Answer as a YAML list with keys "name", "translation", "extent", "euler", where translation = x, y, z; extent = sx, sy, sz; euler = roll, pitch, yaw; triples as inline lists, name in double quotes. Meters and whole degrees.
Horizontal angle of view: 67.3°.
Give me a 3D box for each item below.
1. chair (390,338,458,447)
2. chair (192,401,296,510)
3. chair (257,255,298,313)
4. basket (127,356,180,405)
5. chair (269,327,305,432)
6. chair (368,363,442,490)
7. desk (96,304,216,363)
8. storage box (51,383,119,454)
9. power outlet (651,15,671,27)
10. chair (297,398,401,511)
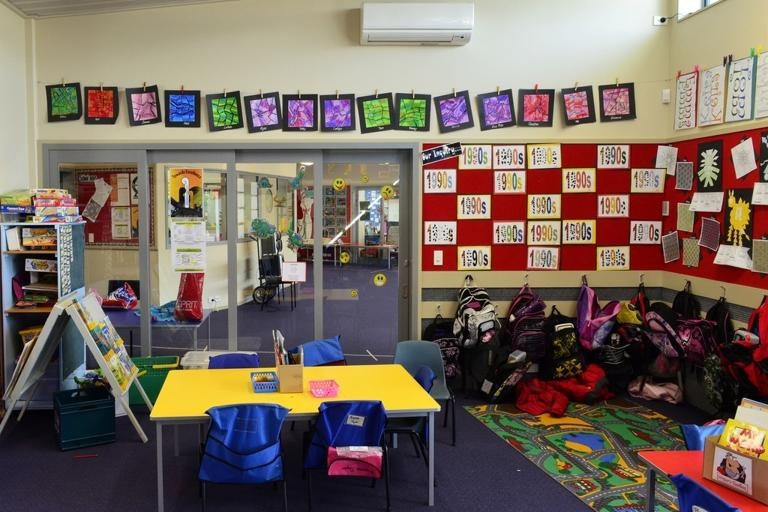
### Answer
- name: "chair"
  translation: [0.381, 1.381, 5.699]
  extent: [0.653, 0.922, 0.693]
  euler: [-3, 0, -22]
- name: "chair"
  translation: [-1.071, 1.538, 4.534]
  extent: [0.627, 0.910, 0.676]
  euler: [2, -6, -4]
- name: "chair"
  translation: [-1.318, 0.324, 7.144]
  extent: [0.404, 0.638, 0.364]
  euler: [-3, 2, 3]
- name: "basket"
  translation: [-2.577, 1.323, 6.591]
  extent: [0.522, 0.458, 0.730]
  euler: [0, 6, -8]
- name: "chair"
  translation: [-0.870, 0.959, 5.342]
  extent: [0.438, 0.833, 0.438]
  euler: [-1, 2, -6]
- name: "chair"
  translation: [0.195, 1.522, 5.721]
  extent: [0.847, 1.215, 0.679]
  euler: [3, -5, -14]
- name: "desk"
  translation: [-2.612, 0.941, 6.981]
  extent: [0.953, 0.962, 0.643]
  euler: [-1, 3, -9]
- name: "storage box"
  translation: [-3.069, 1.752, 5.962]
  extent: [0.531, 0.469, 0.426]
  euler: [3, -19, -43]
- name: "power outlet"
  translation: [3.274, -2.806, 6.877]
  extent: [0.190, 0.108, 0.065]
  euler: [-1, 6, 1]
- name: "chair"
  translation: [-0.288, 1.724, 5.160]
  extent: [0.806, 1.027, 0.967]
  euler: [0, -11, 0]
